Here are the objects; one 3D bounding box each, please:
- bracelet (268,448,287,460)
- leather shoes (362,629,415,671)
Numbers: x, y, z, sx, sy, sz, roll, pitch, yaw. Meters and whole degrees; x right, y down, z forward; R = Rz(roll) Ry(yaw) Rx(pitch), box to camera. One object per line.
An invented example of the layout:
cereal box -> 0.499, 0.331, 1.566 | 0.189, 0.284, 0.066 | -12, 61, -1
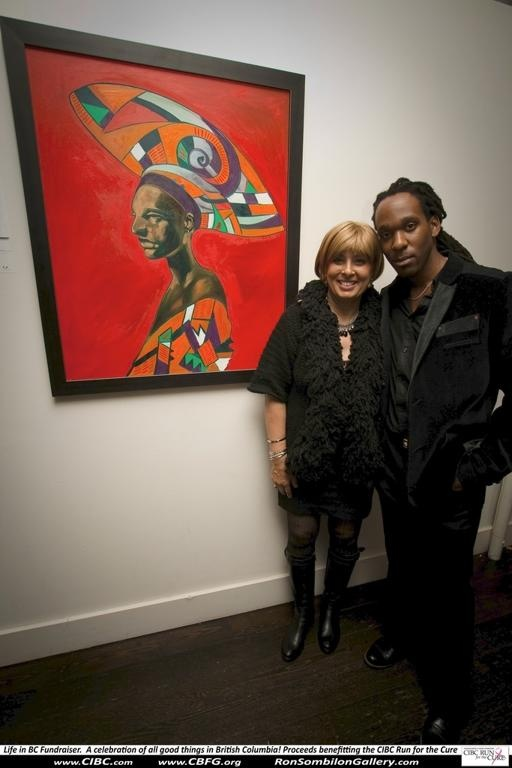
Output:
bracelet -> 0.069, 0.229, 1.972 | 0.041, 0.029, 0.050 | 3, -3, -11
leather shoes -> 0.445, 0.906, 2.016 | 0.156, 0.057, 0.073 | 9, 23, -48
